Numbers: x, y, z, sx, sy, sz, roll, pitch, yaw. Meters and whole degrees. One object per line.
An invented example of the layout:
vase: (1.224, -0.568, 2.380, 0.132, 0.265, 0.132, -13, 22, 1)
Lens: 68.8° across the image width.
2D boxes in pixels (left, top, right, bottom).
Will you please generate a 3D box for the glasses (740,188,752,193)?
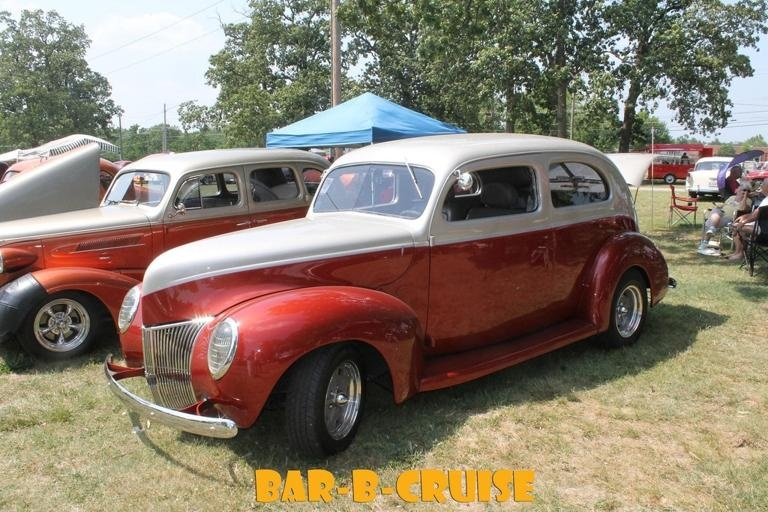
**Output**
glasses: (7.088, -1.301, 11.081, 0.043, 0.044, 0.175, 30, 2, -23)

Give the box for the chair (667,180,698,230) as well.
chair: (8.635, -1.447, 16.334, 0.891, 1.204, 0.944, 11, 11, 41)

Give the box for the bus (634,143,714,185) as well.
bus: (19.717, -6.168, 37.608, 5.594, 2.715, 1.952, 9, 8, 42)

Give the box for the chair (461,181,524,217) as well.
chair: (1.201, -0.574, 6.436, 0.593, 0.424, 0.600, -21, 17, -20)
